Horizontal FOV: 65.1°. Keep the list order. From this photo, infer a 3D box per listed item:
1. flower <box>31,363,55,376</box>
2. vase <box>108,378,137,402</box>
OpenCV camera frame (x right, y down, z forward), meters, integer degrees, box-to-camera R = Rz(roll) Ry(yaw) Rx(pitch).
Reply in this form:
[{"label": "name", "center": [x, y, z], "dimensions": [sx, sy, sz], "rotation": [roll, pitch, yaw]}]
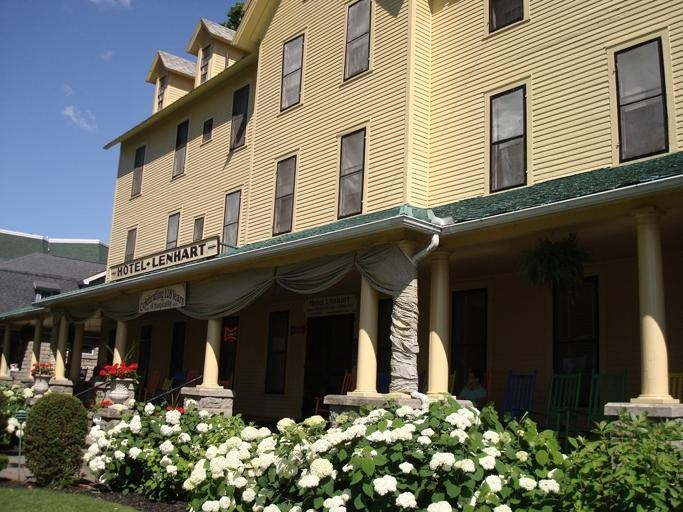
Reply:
[{"label": "flower", "center": [-10.741, 4.062, 19.130], "dimensions": [0.636, 0.600, 0.646], "rotation": [3, -1, -27]}, {"label": "vase", "center": [-5.525, 3.406, 13.425], "dimensions": [0.560, 0.638, 0.437], "rotation": [7, -17, -21]}]
